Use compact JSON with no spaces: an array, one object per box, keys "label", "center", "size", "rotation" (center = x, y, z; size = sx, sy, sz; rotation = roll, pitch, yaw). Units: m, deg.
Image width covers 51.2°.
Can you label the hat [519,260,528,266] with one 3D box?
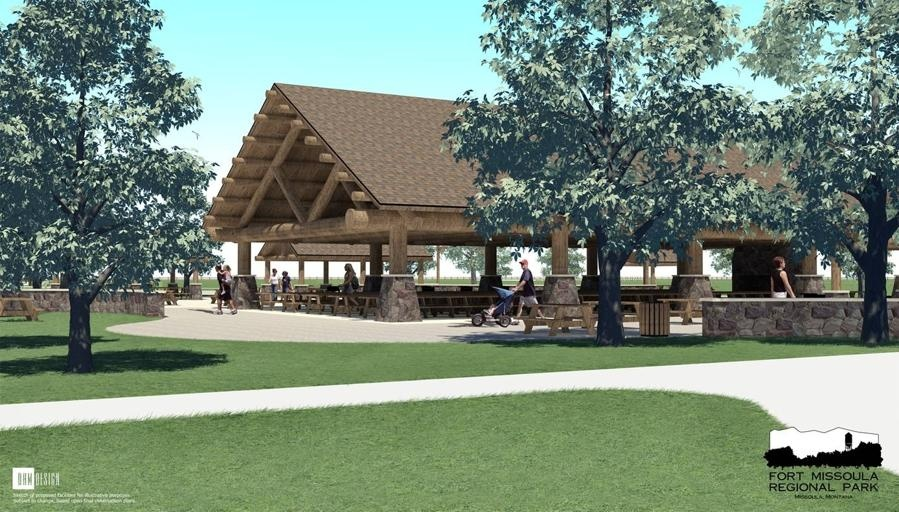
[{"label":"hat","center":[2.184,0.193,27.381],"size":[0.258,0.134,0.181],"rotation":[22,-15,-24]}]

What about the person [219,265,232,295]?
[{"label":"person","center":[-10.040,1.074,42.087],"size":[0.471,1.157,1.533],"rotation":[-4,11,-15]}]
